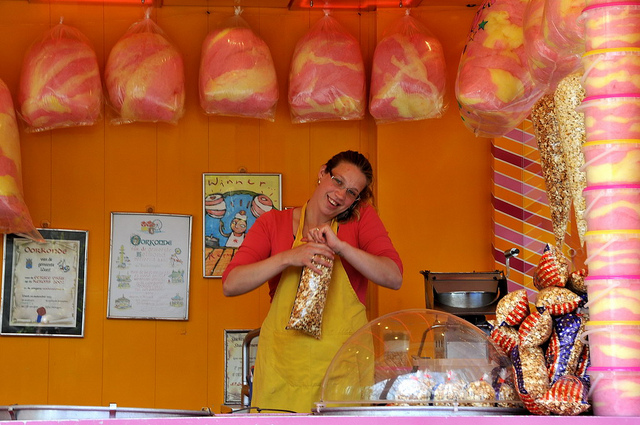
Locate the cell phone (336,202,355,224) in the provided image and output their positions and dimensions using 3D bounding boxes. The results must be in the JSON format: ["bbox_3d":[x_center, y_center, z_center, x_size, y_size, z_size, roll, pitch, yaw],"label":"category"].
[{"bbox_3d":[0.110,0.006,3.433,0.059,0.086,0.030,30,-12,-22],"label":"cell phone"}]

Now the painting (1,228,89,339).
[{"bbox_3d":[-1.596,0.424,4.508,0.604,0.834,0.036,0,-1,-2],"label":"painting"}]

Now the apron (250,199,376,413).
[{"bbox_3d":[-0.045,0.450,3.354,0.440,0.963,0.324,0,23,-9],"label":"apron"}]

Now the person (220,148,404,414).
[{"bbox_3d":[-0.060,0.531,3.352,0.707,1.654,0.524,3,-15,-3],"label":"person"}]
